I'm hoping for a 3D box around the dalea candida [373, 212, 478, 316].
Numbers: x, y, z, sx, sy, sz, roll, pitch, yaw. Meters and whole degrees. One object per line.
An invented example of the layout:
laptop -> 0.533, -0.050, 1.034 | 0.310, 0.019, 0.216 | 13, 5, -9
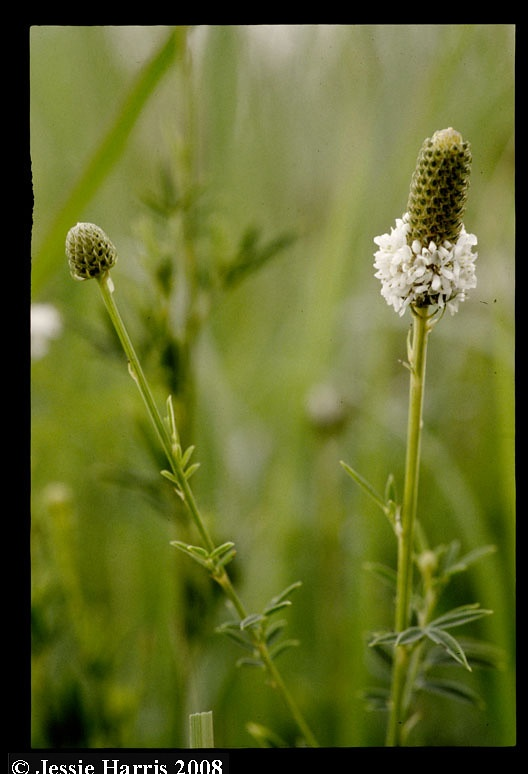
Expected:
dalea candida -> 0.142, -0.100, 0.830 | 0.071, 0.093, 0.092 | 16, -55, -10
